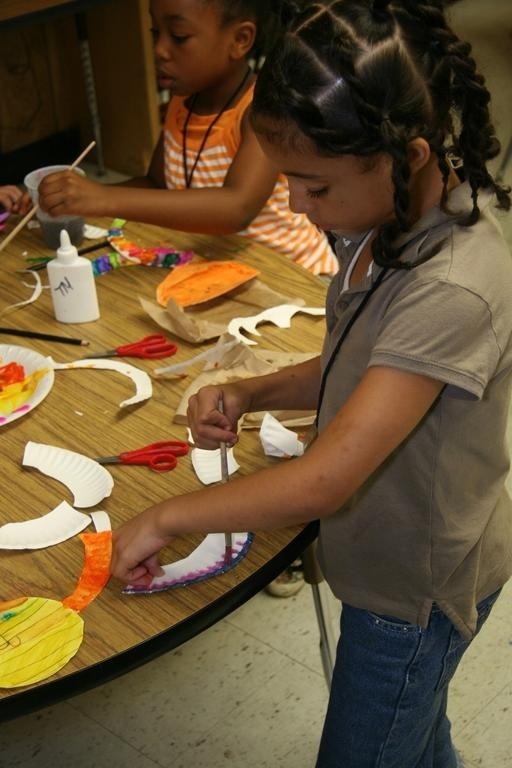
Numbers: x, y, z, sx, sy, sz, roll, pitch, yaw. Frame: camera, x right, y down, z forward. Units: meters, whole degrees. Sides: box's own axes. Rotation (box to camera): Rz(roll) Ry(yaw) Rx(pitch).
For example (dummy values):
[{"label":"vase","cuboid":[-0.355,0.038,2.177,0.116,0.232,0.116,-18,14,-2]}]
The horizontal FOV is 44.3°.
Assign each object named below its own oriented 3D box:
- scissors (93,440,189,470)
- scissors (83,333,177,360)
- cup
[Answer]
[{"label":"scissors","cuboid":[-0.128,0.089,0.780,0.086,0.013,0.041,-4,26,-8]},{"label":"scissors","cuboid":[-0.188,-0.059,1.007,0.106,0.014,0.050,-6,37,-10]},{"label":"cup","cuboid":[-0.410,-0.346,1.300,0.133,0.133,0.127,2,27,-1]}]
